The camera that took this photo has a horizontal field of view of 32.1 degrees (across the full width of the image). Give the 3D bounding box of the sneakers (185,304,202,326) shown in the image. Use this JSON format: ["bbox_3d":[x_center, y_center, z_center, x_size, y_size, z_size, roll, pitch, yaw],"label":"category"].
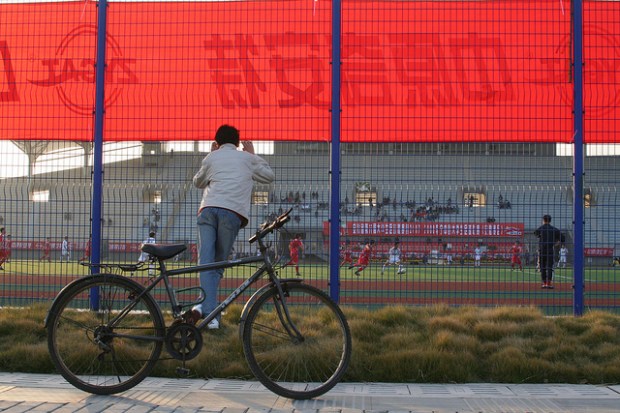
[{"bbox_3d":[-1.698,1.583,15.749,0.185,0.159,0.291,4,11,-18],"label":"sneakers"}]

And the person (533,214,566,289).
[{"bbox_3d":[4.594,0.851,20.597,0.503,1.395,0.389,0,4,29],"label":"person"}]
